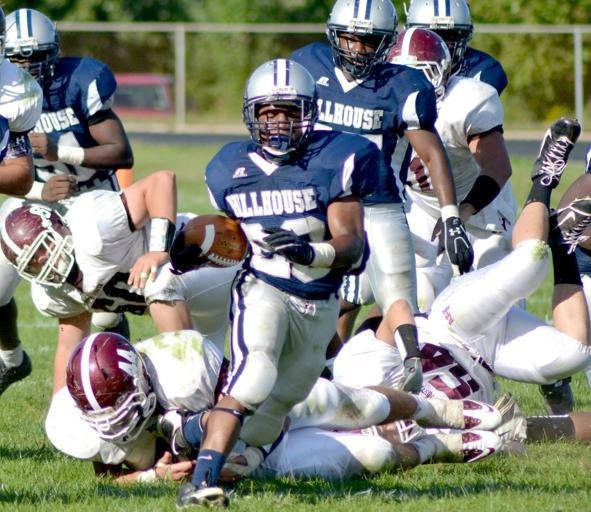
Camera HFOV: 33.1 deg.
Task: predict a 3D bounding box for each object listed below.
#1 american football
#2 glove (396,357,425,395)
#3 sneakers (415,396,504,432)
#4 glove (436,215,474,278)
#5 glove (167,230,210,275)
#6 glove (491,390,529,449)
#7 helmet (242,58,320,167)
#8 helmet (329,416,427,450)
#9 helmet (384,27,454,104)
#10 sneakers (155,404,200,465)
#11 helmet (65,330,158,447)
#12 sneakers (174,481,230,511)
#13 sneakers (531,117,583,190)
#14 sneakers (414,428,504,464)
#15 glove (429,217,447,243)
[{"bbox_3d":[-0.318,-0.035,3.902,0.253,0.207,0.183,10,-9,9],"label":"american football"},{"bbox_3d":[0.507,0.524,4.324,0.062,0.149,0.106,8,-4,-24],"label":"glove"},{"bbox_3d":[0.694,0.675,4.194,0.424,0.150,0.180,0,-19,4],"label":"sneakers"},{"bbox_3d":[0.735,-0.041,4.526,0.159,0.249,0.078,-11,-12,-1],"label":"glove"},{"bbox_3d":[-0.429,-0.002,3.870,0.179,0.124,0.163,-6,24,-4],"label":"glove"},{"bbox_3d":[0.950,0.736,4.367,0.105,0.314,0.135,-42,48,-5],"label":"glove"},{"bbox_3d":[-0.056,-0.554,3.827,0.306,0.364,0.396,-2,15,3],"label":"helmet"},{"bbox_3d":[0.402,0.744,4.233,0.270,0.111,0.155,-7,4,-7],"label":"helmet"},{"bbox_3d":[0.687,-1.018,5.148,0.290,0.314,0.367,-10,24,30],"label":"helmet"},{"bbox_3d":[-0.437,0.684,3.795,0.266,0.106,0.124,20,13,39],"label":"sneakers"},{"bbox_3d":[-0.704,0.529,3.763,0.312,0.439,0.206,4,11,19],"label":"helmet"},{"bbox_3d":[-0.329,0.836,3.459,0.164,0.077,0.082,-6,-2,5],"label":"sneakers"},{"bbox_3d":[1.230,-0.491,4.714,0.148,0.442,0.178,27,11,12],"label":"sneakers"},{"bbox_3d":[0.691,0.811,4.204,0.422,0.140,0.178,-6,-26,13],"label":"sneakers"},{"bbox_3d":[0.661,-0.120,4.657,0.038,0.102,0.078,14,22,2],"label":"glove"}]
